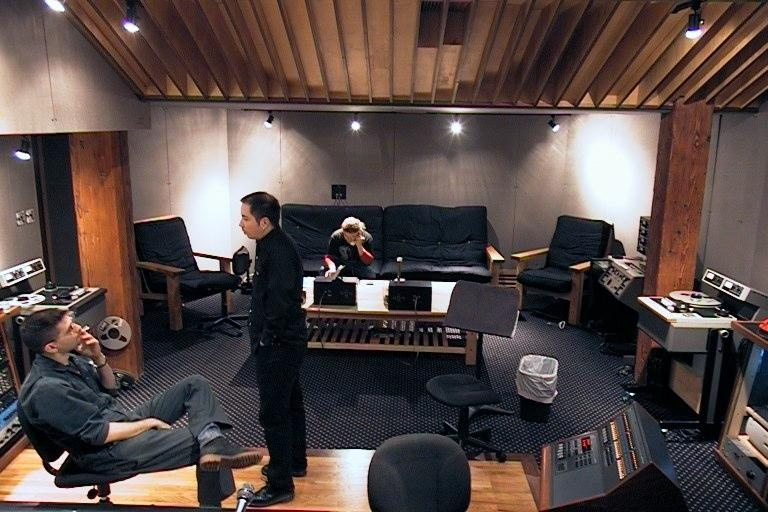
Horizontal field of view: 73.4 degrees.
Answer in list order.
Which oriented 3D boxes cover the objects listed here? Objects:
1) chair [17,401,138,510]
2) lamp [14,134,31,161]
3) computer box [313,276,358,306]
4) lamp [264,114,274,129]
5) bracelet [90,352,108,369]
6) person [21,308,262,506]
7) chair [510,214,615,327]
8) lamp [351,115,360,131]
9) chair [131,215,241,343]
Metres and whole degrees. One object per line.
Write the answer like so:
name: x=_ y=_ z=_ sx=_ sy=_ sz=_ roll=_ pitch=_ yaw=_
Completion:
chair: x=-1.965 y=1.278 z=3.280 sx=0.669 sy=0.813 sz=0.445 roll=11 pitch=16 yaw=40
lamp: x=-3.433 y=-1.026 z=4.902 sx=0.139 sy=0.232 sz=0.561 roll=-8 pitch=15 yaw=-34
computer box: x=-0.505 y=0.376 z=5.338 sx=0.448 sy=0.229 sz=0.276 roll=2 pitch=15 yaw=3
lamp: x=-1.627 y=-1.949 z=7.355 sx=0.157 sy=0.203 sz=0.584 roll=-2 pitch=13 yaw=-13
bracelet: x=-1.966 y=0.721 z=3.572 sx=0.110 sy=0.107 sz=0.030 roll=-30 pitch=25 yaw=3
person: x=-1.792 y=1.131 z=3.780 sx=1.294 sy=1.387 sz=0.833 roll=-5 pitch=23 yaw=-13
chair: x=2.409 y=0.133 z=6.991 sx=1.070 sy=1.249 sz=1.207 roll=8 pitch=14 yaw=31
lamp: x=-0.398 y=-1.955 z=7.522 sx=0.143 sy=0.207 sz=0.250 roll=-1 pitch=12 yaw=-8
chair: x=-2.362 y=0.188 z=6.737 sx=1.625 sy=1.450 sz=1.212 roll=7 pitch=10 yaw=32
